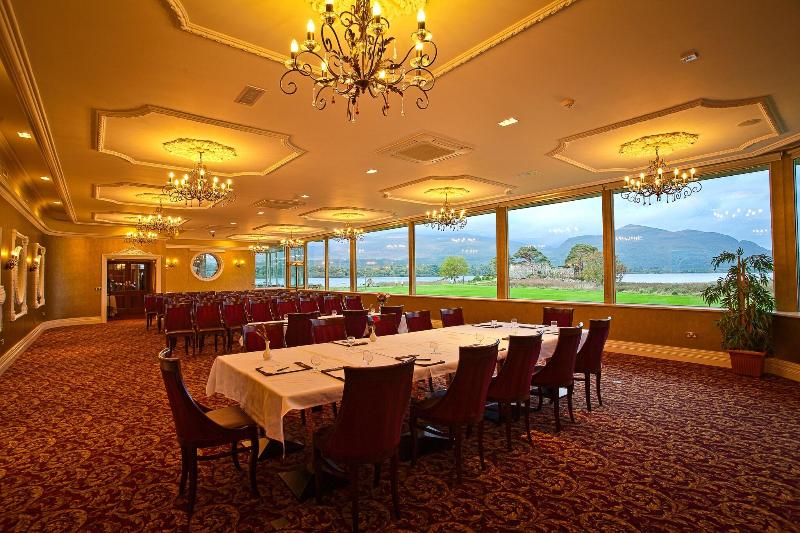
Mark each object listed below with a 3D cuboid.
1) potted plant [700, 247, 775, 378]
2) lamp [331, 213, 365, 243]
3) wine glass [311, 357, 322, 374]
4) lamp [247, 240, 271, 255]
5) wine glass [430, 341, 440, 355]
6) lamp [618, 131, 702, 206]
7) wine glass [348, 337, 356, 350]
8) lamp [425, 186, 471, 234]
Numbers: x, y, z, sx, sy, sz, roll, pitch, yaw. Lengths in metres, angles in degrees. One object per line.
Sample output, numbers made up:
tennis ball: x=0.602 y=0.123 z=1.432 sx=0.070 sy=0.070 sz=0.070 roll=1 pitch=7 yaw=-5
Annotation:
potted plant: x=5.929 y=0.771 z=8.383 sx=1.022 sy=2.156 sz=0.639 roll=0 pitch=1 yaw=29
lamp: x=-1.551 y=-1.200 z=15.143 sx=0.763 sy=0.679 sz=0.729 roll=5 pitch=7 yaw=37
wine glass: x=-0.994 y=1.164 z=5.755 sx=0.147 sy=0.208 sz=0.140 roll=-5 pitch=-3 yaw=23
lamp: x=-6.059 y=-0.804 z=20.355 sx=0.740 sy=0.474 sz=0.734 roll=1 pitch=-1 yaw=2
wine glass: x=0.448 y=1.068 z=6.399 sx=0.101 sy=0.151 sz=0.098 roll=-8 pitch=13 yaw=-40
lamp: x=4.427 y=-1.668 z=8.285 sx=1.292 sy=1.041 sz=1.332 roll=-7 pitch=-3 yaw=40
wine glass: x=-0.667 y=1.037 z=6.618 sx=0.127 sy=0.174 sz=0.111 roll=4 pitch=-6 yaw=-14
lamp: x=1.098 y=-1.274 z=11.110 sx=0.920 sy=1.082 sz=0.905 roll=2 pitch=-1 yaw=-2
